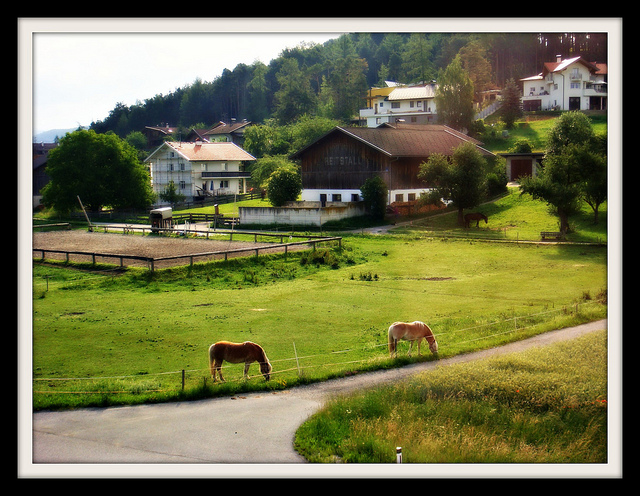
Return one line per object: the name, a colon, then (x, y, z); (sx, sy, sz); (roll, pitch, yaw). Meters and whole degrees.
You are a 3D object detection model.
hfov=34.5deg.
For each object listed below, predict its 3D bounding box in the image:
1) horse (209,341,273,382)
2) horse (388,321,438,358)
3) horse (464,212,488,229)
horse: (-3.222, 4.279, 40.998); (1.930, 1.794, 1.945); (8, 8, 39)
horse: (3.940, 3.671, 44.208); (1.616, 1.681, 1.703); (3, 4, 32)
horse: (13.185, -2.355, 87.599); (1.787, 1.129, 3.137); (1, 7, 33)
